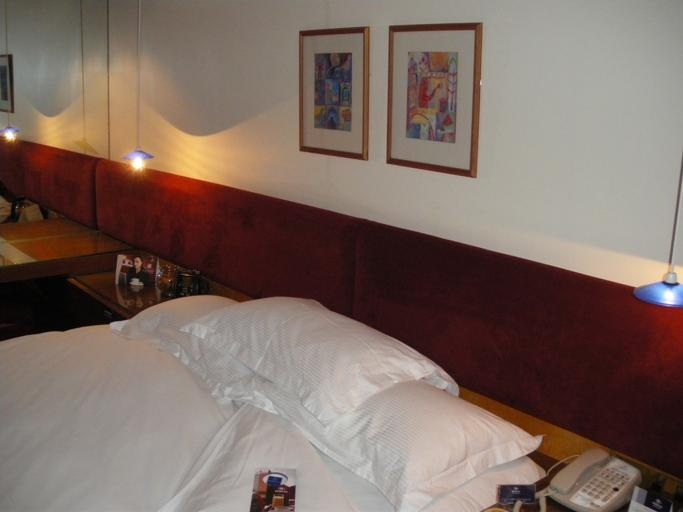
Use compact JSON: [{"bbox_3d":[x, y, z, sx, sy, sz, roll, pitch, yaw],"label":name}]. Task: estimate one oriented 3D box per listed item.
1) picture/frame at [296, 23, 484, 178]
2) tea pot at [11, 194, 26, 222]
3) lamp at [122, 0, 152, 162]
[{"bbox_3d":[0.159,-0.694,2.168,0.955,0.651,0.082,11,14,42],"label":"picture/frame"},{"bbox_3d":[-2.369,-0.348,3.631,0.089,0.183,0.083,2,10,0],"label":"tea pot"},{"bbox_3d":[-1.370,-1.138,3.312,0.156,1.124,0.493,-2,11,-21],"label":"lamp"}]
